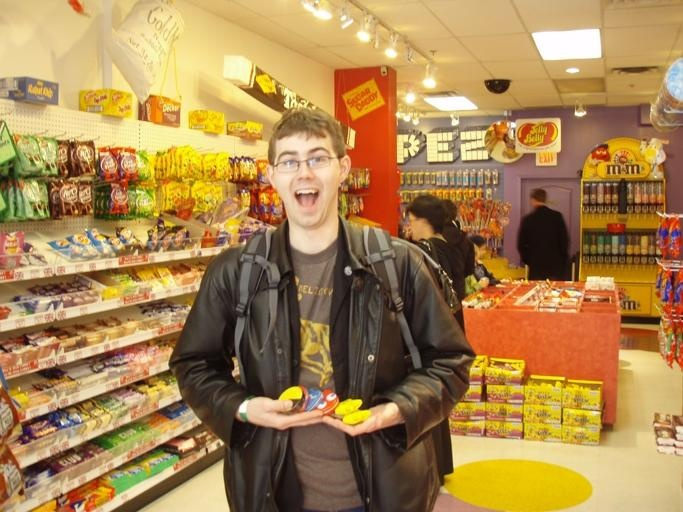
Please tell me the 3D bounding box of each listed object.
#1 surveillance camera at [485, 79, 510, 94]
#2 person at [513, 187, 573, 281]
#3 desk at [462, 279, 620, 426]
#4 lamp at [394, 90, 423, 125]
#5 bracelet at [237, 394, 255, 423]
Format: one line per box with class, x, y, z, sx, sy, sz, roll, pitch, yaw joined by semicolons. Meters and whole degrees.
surveillance camera;2.634;-2.894;8.050;0.261;0.164;0.269;0;17;7
person;3.567;-0.270;8.390;0.810;1.380;0.300;-1;3;13
desk;2.199;0.629;5.226;1.244;0.919;2.000;0;4;16
lamp;1.458;-3.027;9.566;0.312;0.797;1.124;7;17;26
bracelet;-0.299;0.478;1.493;0.032;0.070;0.049;3;-1;22
